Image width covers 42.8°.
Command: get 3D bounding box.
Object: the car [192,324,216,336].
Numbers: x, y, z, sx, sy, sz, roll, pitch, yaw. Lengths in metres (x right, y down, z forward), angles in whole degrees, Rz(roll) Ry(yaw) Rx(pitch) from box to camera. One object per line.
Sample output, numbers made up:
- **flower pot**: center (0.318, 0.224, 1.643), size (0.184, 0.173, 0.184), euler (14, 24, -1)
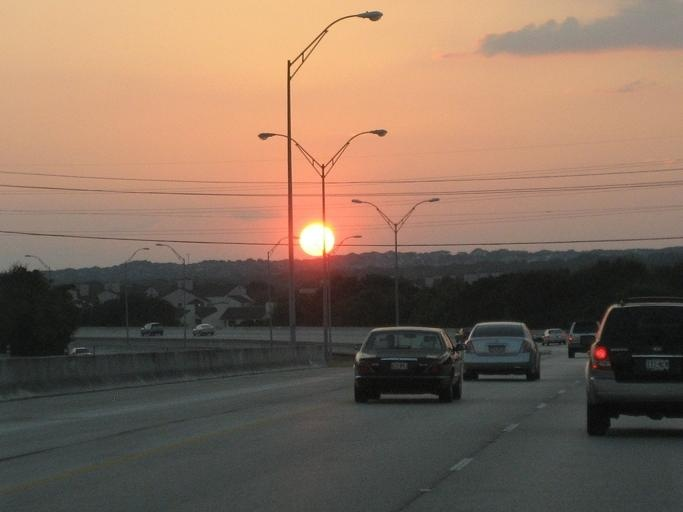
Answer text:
- **car**: center (-22.119, 12.042, 140.524), size (2.124, 1.700, 3.528), euler (-2, -2, -26)
